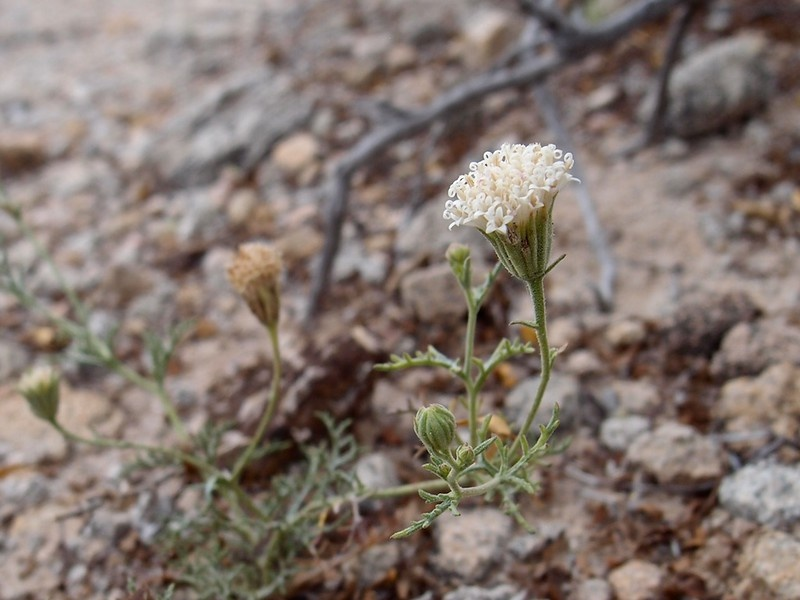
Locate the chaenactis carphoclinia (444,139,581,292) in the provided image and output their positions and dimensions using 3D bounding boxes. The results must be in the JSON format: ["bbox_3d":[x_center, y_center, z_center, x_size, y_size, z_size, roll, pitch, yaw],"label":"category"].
[{"bbox_3d":[0.205,-0.133,1.386,0.205,0.204,0.218,-12,-13,-33],"label":"chaenactis carphoclinia"}]
